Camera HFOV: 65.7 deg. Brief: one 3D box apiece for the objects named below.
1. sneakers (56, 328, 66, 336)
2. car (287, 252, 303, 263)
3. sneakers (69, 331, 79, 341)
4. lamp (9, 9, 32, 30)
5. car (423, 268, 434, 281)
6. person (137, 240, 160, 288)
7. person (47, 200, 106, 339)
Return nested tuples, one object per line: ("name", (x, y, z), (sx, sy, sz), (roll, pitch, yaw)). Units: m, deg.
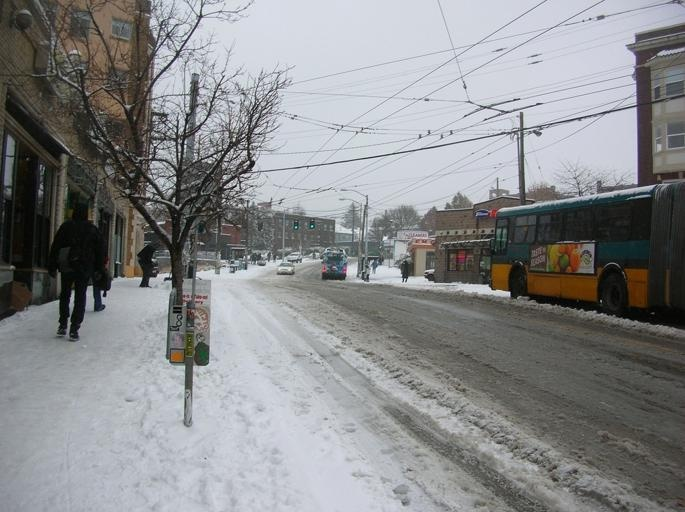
("sneakers", (-4.683, 1.260, 8.857), (0.072, 0.113, 0.235), (4, 5, -10))
("car", (-8.133, 0.280, 87.884), (1.412, 1.395, 3.045), (0, -6, 4))
("sneakers", (-4.367, 1.300, 8.640), (0.129, 0.154, 0.117), (-2, 11, -31))
("lamp", (-6.173, -4.573, 10.225), (0.308, 0.390, 0.405), (0, 10, -23))
("car", (7.155, 1.464, 42.326), (1.575, 0.868, 0.891), (12, -9, -41))
("person", (-7.075, 0.337, 19.161), (0.621, 1.935, 0.661), (-16, -24, 34))
("person", (-4.430, 0.258, 8.847), (0.710, 2.257, 0.884), (3, 9, -3))
